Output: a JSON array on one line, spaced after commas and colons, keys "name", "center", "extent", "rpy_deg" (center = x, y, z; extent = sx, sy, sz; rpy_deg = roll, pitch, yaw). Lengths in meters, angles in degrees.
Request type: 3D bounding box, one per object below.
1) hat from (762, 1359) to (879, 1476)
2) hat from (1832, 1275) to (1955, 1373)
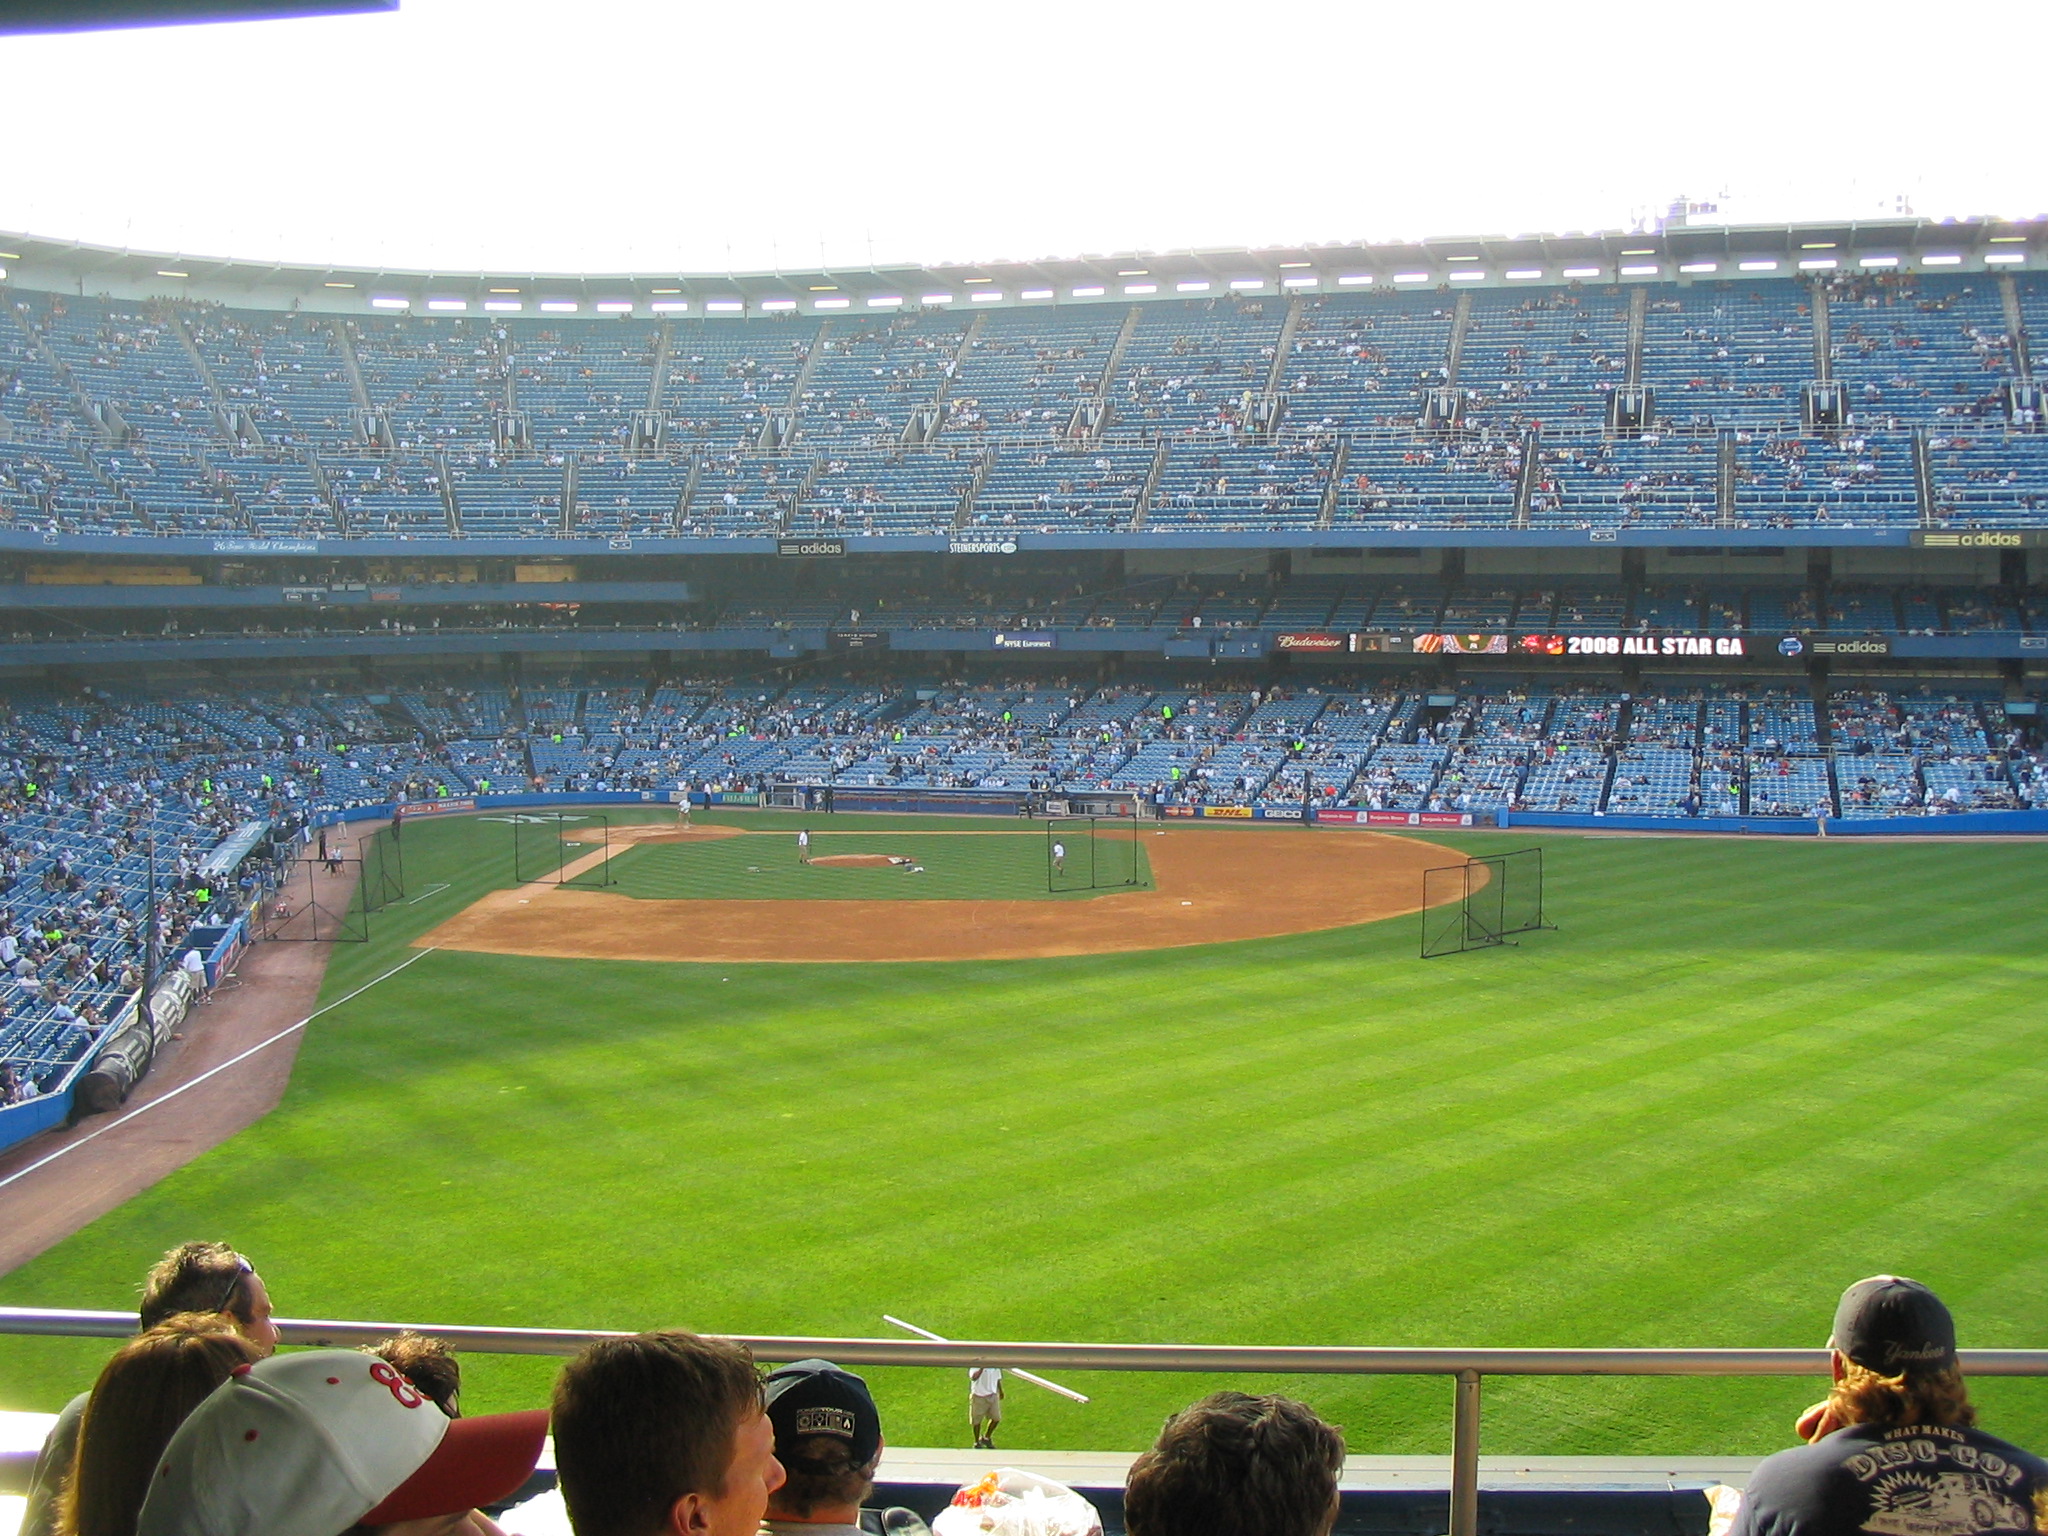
[{"name": "hat", "center": [-0.843, 2.644, 7.182], "extent": [0.445, 0.218, 0.533], "rpy_deg": [-2, 12, -14]}, {"name": "hat", "center": [3.706, 2.318, 7.401], "extent": [0.452, 0.167, 0.559], "rpy_deg": [5, 10, 29]}]
